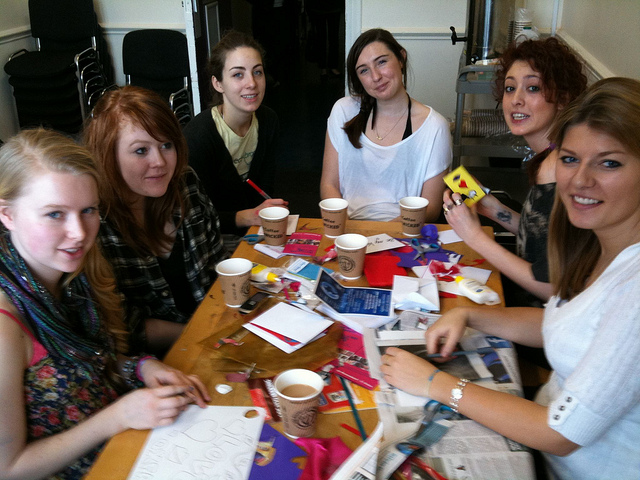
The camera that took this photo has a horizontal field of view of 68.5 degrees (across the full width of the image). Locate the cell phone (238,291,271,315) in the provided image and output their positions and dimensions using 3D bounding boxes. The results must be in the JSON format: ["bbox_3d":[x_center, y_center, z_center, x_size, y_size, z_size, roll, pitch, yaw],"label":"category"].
[{"bbox_3d":[-0.222,0.208,1.576,0.041,0.023,0.136,9,29,18],"label":"cell phone"}]

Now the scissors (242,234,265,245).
[{"bbox_3d":[-0.279,-0.007,1.984,0.067,0.018,0.048,-5,19,-15],"label":"scissors"}]

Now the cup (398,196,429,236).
[{"bbox_3d":[0.392,-0.094,2.019,0.131,0.135,0.134,1,21,0],"label":"cup"}]

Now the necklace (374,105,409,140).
[{"bbox_3d":[0.389,-0.629,2.528,0.009,0.220,0.068,35,1,-46],"label":"necklace"}]

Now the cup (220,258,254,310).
[{"bbox_3d":[-0.288,0.154,1.595,0.117,0.121,0.114,0,13,0],"label":"cup"}]

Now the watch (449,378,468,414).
[{"bbox_3d":[0.352,0.400,1.201,0.038,0.061,0.066,14,52,37],"label":"watch"}]

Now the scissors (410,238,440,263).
[{"bbox_3d":[0.418,0.033,1.876,0.109,0.024,0.152,1,26,6],"label":"scissors"}]

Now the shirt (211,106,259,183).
[{"bbox_3d":[-0.448,-0.541,2.720,0.224,0.393,0.256,5,29,6],"label":"shirt"}]

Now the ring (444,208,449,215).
[{"bbox_3d":[0.513,-0.116,1.929,0.017,0.031,0.017,-1,14,0],"label":"ring"}]

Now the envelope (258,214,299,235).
[{"bbox_3d":[-0.153,-0.070,2.096,0.094,0.037,0.139,-3,25,4],"label":"envelope"}]

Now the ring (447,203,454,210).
[{"bbox_3d":[0.522,-0.136,1.893,0.024,0.014,0.023,-16,25,8],"label":"ring"}]

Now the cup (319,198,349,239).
[{"bbox_3d":[0.058,-0.097,2.038,0.149,0.154,0.147,-1,22,0],"label":"cup"}]

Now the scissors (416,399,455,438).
[{"bbox_3d":[0.291,0.450,1.201,0.074,0.028,0.057,-38,19,-20],"label":"scissors"}]

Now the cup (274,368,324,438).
[{"bbox_3d":[-0.051,0.388,1.148,0.140,0.123,0.145,0,18,0],"label":"cup"}]

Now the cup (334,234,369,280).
[{"bbox_3d":[0.127,0.073,1.744,0.137,0.143,0.134,-3,15,1],"label":"cup"}]

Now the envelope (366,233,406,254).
[{"bbox_3d":[0.246,0.008,1.940,0.176,0.020,0.129,-12,28,-20],"label":"envelope"}]

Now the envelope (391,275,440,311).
[{"bbox_3d":[0.327,0.177,1.623,0.159,0.045,0.159,3,26,10],"label":"envelope"}]

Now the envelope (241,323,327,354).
[{"bbox_3d":[-0.148,0.291,1.434,0.210,0.018,0.057,17,31,34],"label":"envelope"}]
